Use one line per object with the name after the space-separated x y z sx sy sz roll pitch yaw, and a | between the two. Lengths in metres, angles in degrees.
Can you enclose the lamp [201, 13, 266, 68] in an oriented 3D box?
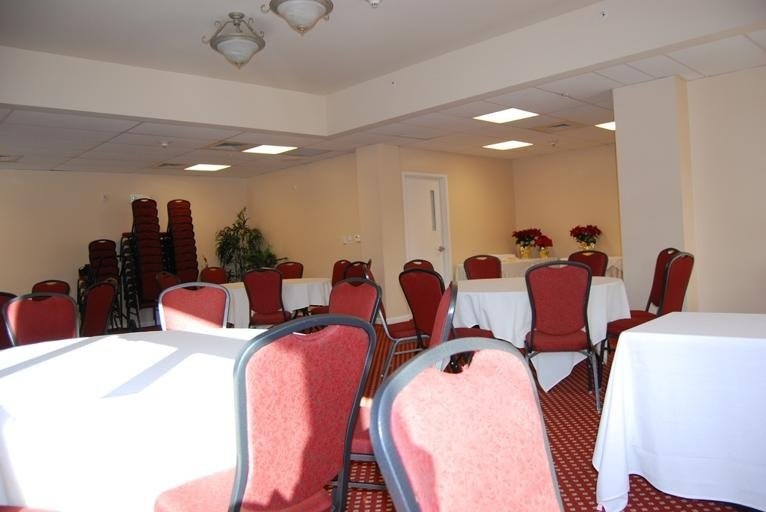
-1.391 -2.072 4.840 0.608 0.469 0.442 -8 5 -17 | lamp
